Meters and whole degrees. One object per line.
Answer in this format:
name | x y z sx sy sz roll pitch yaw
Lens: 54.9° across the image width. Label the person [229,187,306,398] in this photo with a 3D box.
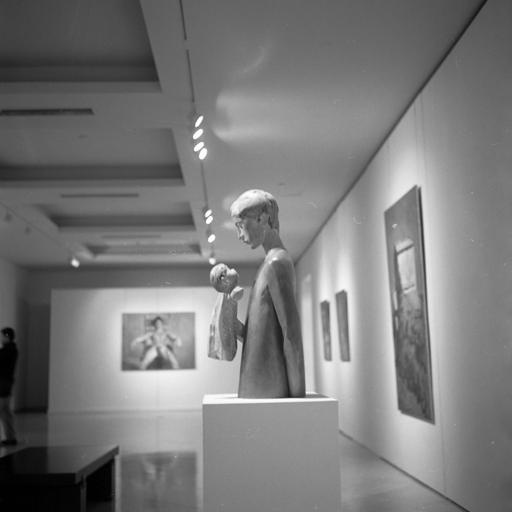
person | 0.042 0.156 2.195 0.339 0.920 0.261 -1 -10 8
